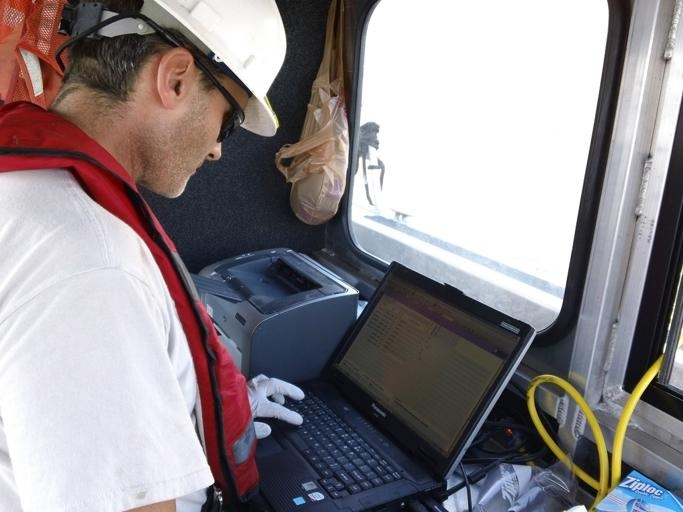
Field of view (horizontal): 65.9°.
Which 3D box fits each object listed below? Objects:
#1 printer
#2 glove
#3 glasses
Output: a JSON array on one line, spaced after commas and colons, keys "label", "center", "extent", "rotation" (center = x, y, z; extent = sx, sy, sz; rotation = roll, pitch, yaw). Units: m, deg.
[{"label": "printer", "center": [-0.238, 0.179, 1.889], "extent": [0.463, 0.322, 0.500], "rotation": [-8, 20, -29]}, {"label": "glove", "center": [-0.181, 0.422, 1.524], "extent": [0.114, 0.145, 0.218], "rotation": [42, -4, -32]}, {"label": "glasses", "center": [-0.230, -0.303, 1.047], "extent": [0.031, 0.114, 0.111], "rotation": [-21, -14, -8]}]
